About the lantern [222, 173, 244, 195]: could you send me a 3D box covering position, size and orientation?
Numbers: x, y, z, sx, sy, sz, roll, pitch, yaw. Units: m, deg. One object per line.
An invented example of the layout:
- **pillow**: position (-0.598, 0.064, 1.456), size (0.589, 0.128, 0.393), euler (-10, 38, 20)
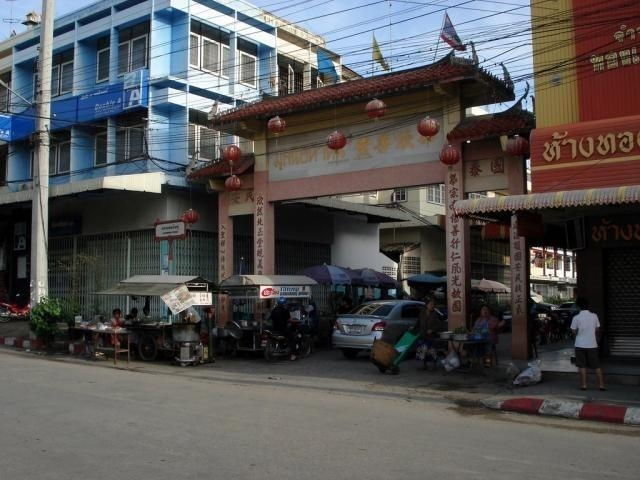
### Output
- **lantern**: position (-3.006, -1.969, 25.902), size (0.536, 0.685, 0.549), euler (4, 13, 24)

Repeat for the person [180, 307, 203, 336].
- **person**: position (-3.666, 2.314, 21.689), size (0.569, 0.835, 0.861), euler (-5, 0, -33)

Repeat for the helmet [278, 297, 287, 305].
- **helmet**: position (-1.138, 1.868, 22.554), size (0.226, 0.171, 0.230), euler (-15, -9, 23)

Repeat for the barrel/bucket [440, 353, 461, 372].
- **barrel/bucket**: position (3.514, 3.272, 19.919), size (0.448, 0.509, 0.327), euler (-2, -8, 9)

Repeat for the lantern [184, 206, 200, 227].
- **lantern**: position (-4.466, -0.740, 25.911), size (0.535, 0.616, 0.555), euler (1, 38, -7)

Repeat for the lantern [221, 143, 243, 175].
- **lantern**: position (-2.967, -2.758, 25.431), size (0.544, 0.847, 1.601), euler (0, -9, -7)

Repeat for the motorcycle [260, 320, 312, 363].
- **motorcycle**: position (-0.962, 3.052, 22.440), size (0.839, 1.147, 1.888), euler (-7, -10, 35)

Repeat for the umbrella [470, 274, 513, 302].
- **umbrella**: position (7.666, 2.181, 33.425), size (2.111, 0.715, 2.135), euler (2, -9, 30)

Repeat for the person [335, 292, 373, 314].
- **person**: position (1.227, 2.312, 26.802), size (1.277, 0.583, 0.773), euler (0, -5, -39)

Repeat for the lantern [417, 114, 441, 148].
- **lantern**: position (3.221, -3.164, 21.749), size (0.762, 0.923, 0.799), euler (3, 0, -37)

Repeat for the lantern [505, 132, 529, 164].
- **lantern**: position (5.540, -2.622, 20.986), size (0.585, 0.723, 0.626), euler (-6, 0, -16)

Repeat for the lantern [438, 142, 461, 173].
- **lantern**: position (3.758, -2.434, 21.608), size (0.631, 0.849, 0.621), euler (-2, -2, -25)

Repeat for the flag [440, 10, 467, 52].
- **flag**: position (3.992, -6.157, 22.029), size (0.948, 1.007, 0.078), euler (17, -18, -25)

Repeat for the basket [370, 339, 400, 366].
- **basket**: position (1.667, 2.995, 19.718), size (0.653, 0.486, 0.555), euler (22, -8, -7)

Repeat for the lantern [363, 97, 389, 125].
- **lantern**: position (1.672, -3.804, 22.144), size (0.756, 0.899, 0.762), euler (8, 8, 34)

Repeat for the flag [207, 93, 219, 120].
- **flag**: position (-3.761, -4.620, 26.414), size (0.329, 0.926, 0.733), euler (1, -8, -14)
